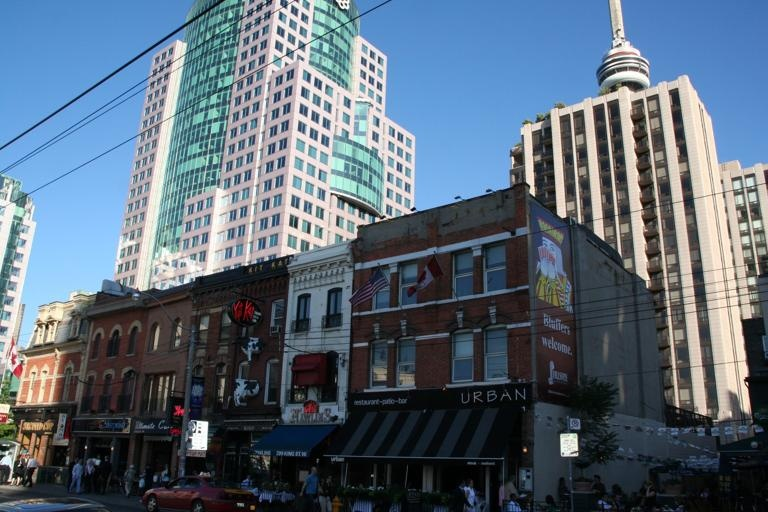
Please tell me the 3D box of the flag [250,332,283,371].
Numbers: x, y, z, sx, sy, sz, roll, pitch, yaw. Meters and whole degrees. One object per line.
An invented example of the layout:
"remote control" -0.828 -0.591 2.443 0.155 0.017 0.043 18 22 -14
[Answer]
"flag" -8.378 6.919 48.155 2.783 2.370 0.310 -12 -23 31

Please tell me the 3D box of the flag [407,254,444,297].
"flag" 2.600 1.063 42.853 1.451 2.526 2.454 12 -26 -27

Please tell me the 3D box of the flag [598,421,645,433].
"flag" 16.177 11.513 45.120 1.129 0.676 5.489 -14 -25 29

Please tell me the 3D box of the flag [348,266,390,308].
"flag" -0.838 1.757 44.099 1.839 2.700 2.516 18 -29 -37
